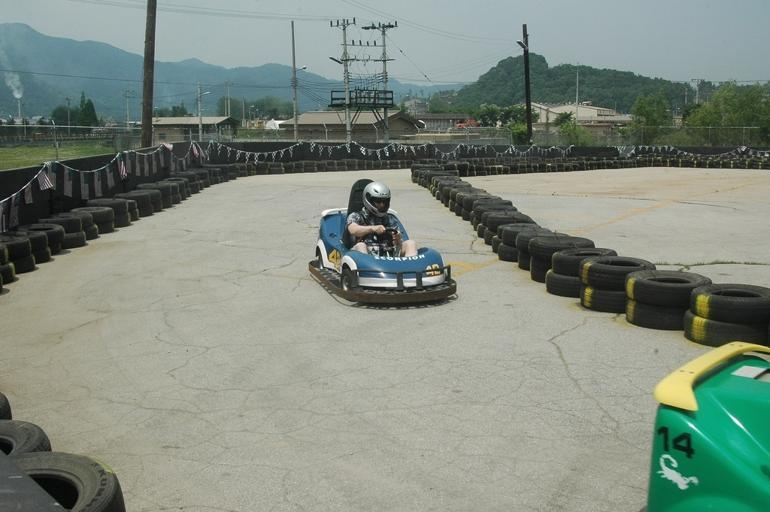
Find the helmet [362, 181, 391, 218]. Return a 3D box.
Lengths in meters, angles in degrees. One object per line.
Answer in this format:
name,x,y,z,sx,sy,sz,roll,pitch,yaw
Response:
helmet,-0.093,-0.825,9.833,0.409,0.430,0.465,-4,18,-26
